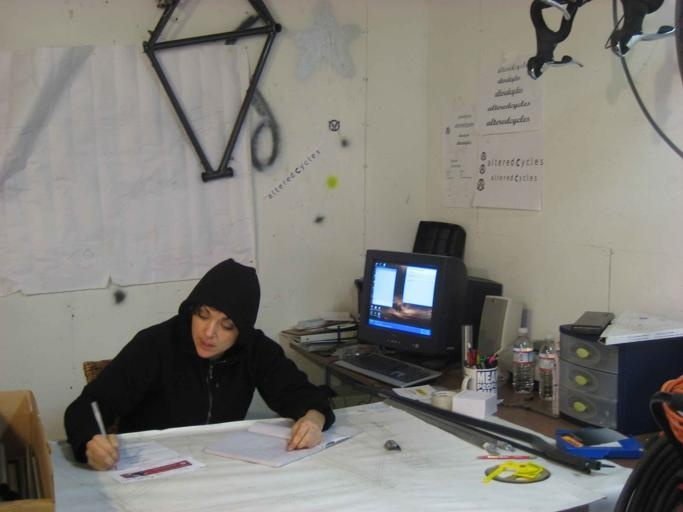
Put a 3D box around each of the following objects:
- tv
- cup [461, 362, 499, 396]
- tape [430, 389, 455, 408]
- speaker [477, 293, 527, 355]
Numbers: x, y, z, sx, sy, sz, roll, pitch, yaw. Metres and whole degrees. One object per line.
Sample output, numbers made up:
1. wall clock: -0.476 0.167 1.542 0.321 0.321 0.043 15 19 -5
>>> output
1. tv: 0.450 0.150 3.120 0.482 0.625 0.657 -9 10 -44
2. cup: 0.546 0.497 2.520 0.149 0.146 0.095 -2 3 -7
3. tape: 0.393 0.545 2.392 0.060 0.061 0.062 5 5 6
4. speaker: 0.737 0.318 2.821 0.175 0.328 0.234 3 5 -28
